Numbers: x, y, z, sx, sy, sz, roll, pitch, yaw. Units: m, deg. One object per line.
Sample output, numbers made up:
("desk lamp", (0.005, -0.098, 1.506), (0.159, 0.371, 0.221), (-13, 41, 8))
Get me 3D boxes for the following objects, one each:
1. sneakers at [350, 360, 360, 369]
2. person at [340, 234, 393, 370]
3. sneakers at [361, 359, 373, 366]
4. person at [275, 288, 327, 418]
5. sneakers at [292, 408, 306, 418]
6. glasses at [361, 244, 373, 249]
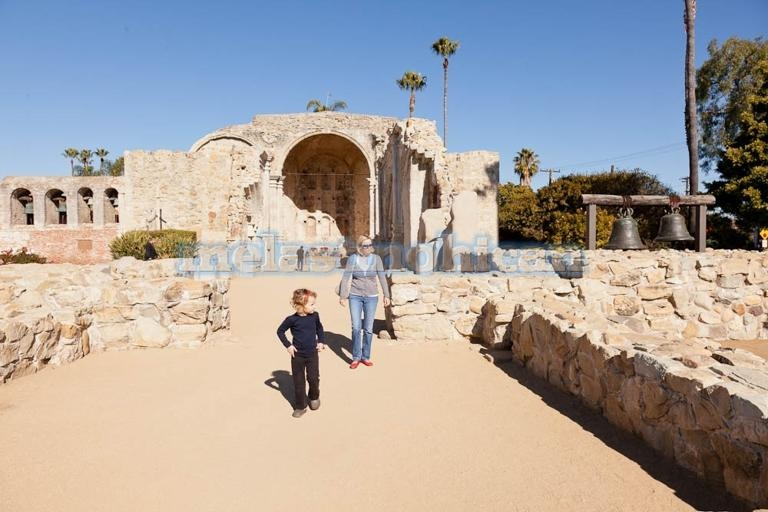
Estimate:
("sneakers", (-0.485, 1.751, 8.285), (0.151, 0.079, 0.246), (3, 11, 9))
("person", (-0.362, 0.710, 8.422), (0.798, 2.108, 0.916), (2, 11, 4))
("sneakers", (-0.279, 1.763, 8.375), (0.074, 0.088, 0.200), (6, -9, -32))
("person", (-1.136, 1.291, 6.970), (0.587, 1.607, 0.711), (-1, 11, -10))
("sneakers", (-1.151, 2.102, 6.794), (0.071, 0.079, 0.199), (20, -19, 14))
("glasses", (-0.293, -0.167, 8.331), (0.158, 0.060, 0.088), (-2, 11, -18))
